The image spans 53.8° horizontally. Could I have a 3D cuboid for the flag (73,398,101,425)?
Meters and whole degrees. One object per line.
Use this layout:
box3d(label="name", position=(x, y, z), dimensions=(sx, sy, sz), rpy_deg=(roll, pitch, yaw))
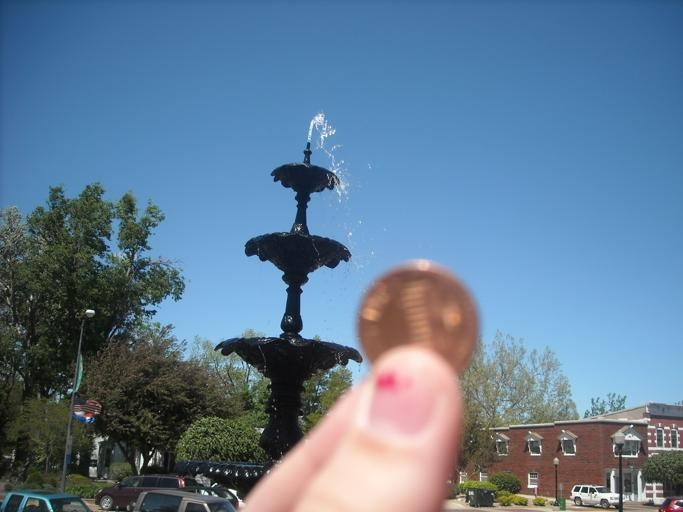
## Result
box3d(label="flag", position=(-10.580, 6.449, 27.842), dimensions=(1.031, 0.879, 0.704), rpy_deg=(-6, -20, 27))
